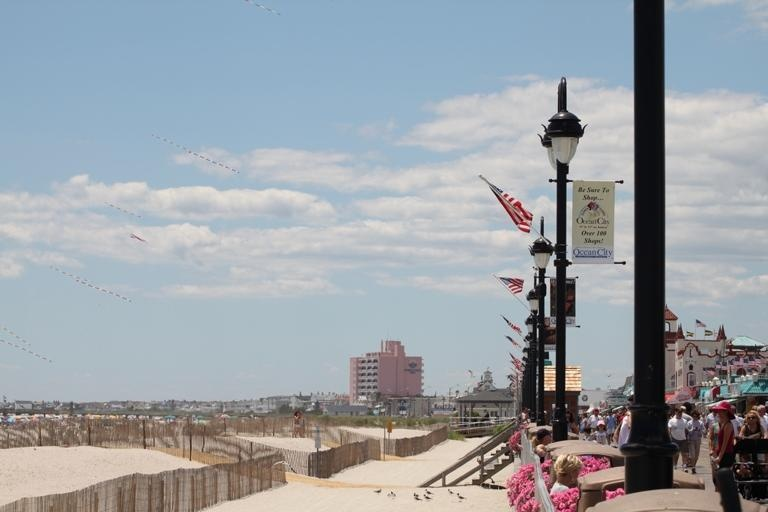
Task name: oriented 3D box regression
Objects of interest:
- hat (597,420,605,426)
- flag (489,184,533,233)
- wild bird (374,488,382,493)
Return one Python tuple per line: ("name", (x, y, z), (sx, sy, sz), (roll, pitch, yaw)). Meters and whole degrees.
("hat", (8.627, 6.819, 60.921), (0.422, 0.167, 0.591), (0, -1, 5))
("flag", (4.826, -1.854, 57.274), (1.245, 2.046, 2.900), (-3, -12, 3))
("wild bird", (-0.400, 10.709, 68.088), (0.213, 0.209, 0.149), (4, 4, 9))
